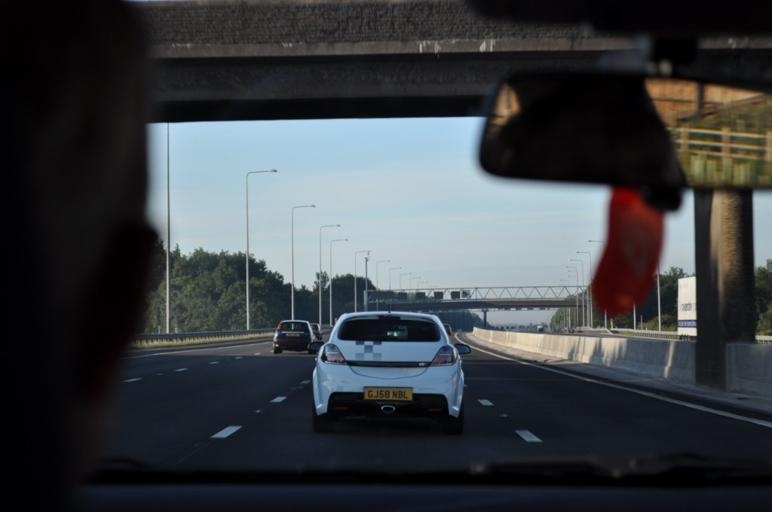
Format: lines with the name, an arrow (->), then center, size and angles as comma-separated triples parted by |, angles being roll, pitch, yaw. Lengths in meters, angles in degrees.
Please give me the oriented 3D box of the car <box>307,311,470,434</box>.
car -> 0.040, 1.516, 12.599 | 1.937, 1.486, 1.176 | 1, -2, -5
